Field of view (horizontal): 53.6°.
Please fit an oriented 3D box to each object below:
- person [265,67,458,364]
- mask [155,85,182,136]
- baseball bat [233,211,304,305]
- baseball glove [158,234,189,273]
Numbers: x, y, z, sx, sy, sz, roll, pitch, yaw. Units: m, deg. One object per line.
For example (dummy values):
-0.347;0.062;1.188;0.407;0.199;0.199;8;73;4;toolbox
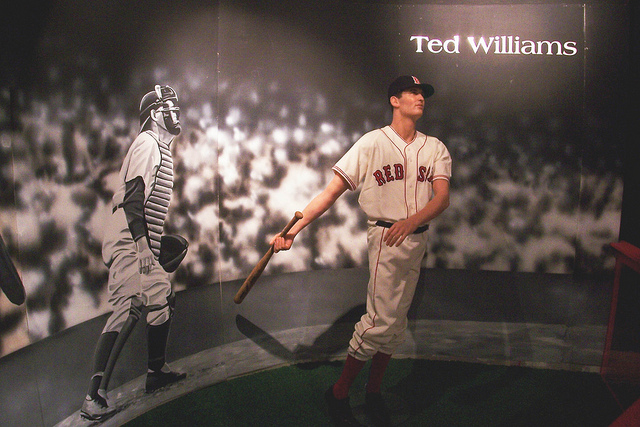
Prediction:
0.446;0.092;4.837;1.317;2.328;0.734;-1;12;-3;person
-1.096;-0.750;4.603;0.104;0.308;0.210;-11;9;12;mask
-0.430;0.316;4.949;0.088;0.810;0.122;34;-3;-7;baseball bat
-1.088;0.272;4.706;0.179;0.222;0.243;23;28;2;baseball glove
